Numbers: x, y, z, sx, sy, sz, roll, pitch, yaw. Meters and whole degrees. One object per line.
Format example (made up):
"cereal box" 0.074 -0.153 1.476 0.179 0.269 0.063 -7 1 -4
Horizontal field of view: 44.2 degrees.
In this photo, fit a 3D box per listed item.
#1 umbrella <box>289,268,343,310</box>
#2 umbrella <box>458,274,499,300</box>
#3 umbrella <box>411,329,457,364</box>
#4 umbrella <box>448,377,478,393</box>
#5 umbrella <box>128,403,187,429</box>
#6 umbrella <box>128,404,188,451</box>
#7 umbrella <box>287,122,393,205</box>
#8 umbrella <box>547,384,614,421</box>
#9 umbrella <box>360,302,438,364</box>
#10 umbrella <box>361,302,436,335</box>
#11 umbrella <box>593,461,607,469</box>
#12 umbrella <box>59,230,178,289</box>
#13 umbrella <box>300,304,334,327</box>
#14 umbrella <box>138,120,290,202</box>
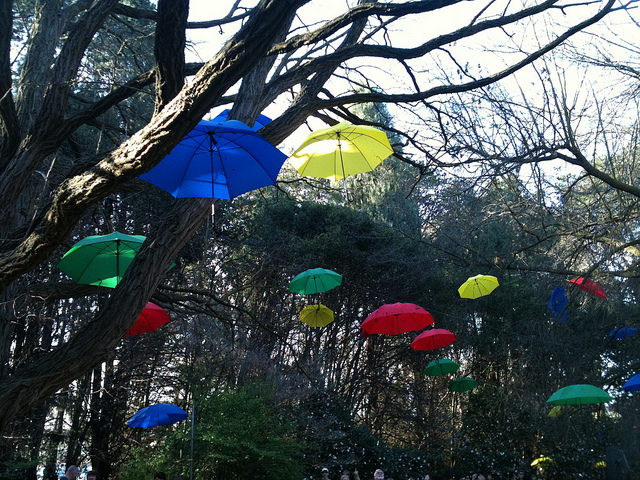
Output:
"umbrella" -0.107 1.091 20.007 1.121 0.527 1.366 18 -29 -26
"umbrella" 4.038 1.087 19.912 0.900 0.543 1.437 4 -25 2
"umbrella" 3.091 2.838 20.899 1.203 0.969 1.235 -9 13 12
"umbrella" 4.346 4.282 23.763 0.689 0.452 0.807 11 -26 -13
"umbrella" -3.924 4.247 19.128 1.301 0.689 0.624 11 -26 -13
"umbrella" -3.847 4.314 19.245 0.968 0.584 0.966 -19 20 -34
"umbrella" 0.405 -1.274 13.567 1.719 1.328 1.749 -1 -23 -5
"umbrella" 6.115 3.649 18.452 1.074 0.710 1.053 3 -24 -24
"umbrella" 1.935 2.197 19.196 1.578 1.361 1.542 -8 14 -14
"umbrella" 1.835 1.782 18.636 1.649 0.843 0.791 0 -26 10
"umbrella" 8.199 6.563 23.036 0.347 0.261 0.262 -10 -29 29
"umbrella" -3.921 0.309 15.393 2.220 0.859 2.202 7 7 17
"umbrella" -0.081 1.911 21.268 0.657 0.624 0.648 2 -54 -2
"umbrella" -1.785 -1.341 13.042 2.304 0.742 2.279 2 -41 -4
